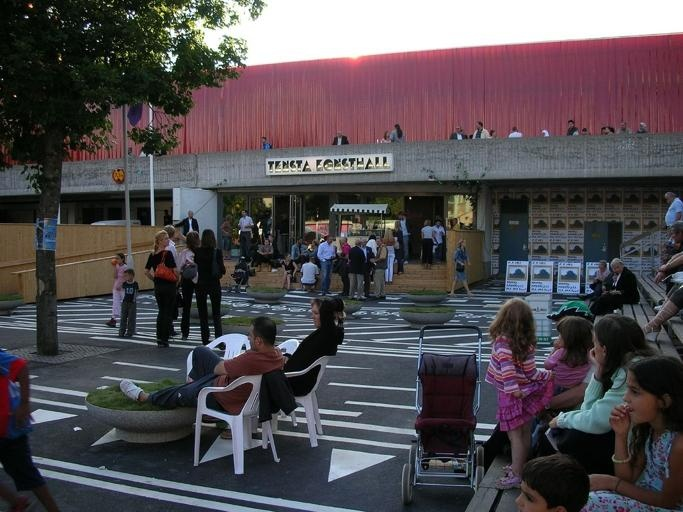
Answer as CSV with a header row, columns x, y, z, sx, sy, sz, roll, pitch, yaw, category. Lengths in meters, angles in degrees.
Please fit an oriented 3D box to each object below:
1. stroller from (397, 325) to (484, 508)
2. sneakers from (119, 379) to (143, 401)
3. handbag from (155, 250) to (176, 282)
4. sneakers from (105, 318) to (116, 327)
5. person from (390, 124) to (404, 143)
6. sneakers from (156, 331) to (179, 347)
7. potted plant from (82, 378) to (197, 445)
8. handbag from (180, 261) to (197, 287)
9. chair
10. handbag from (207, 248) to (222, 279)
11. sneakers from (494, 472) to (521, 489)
x,y,z,sx,sy,sz,roll,pitch,yaw,category
1.134,1.729,7.784,0.874,1.826,1.434,1,1,9,stroller
-2.679,1.715,8.914,0.186,0.170,0.440,14,16,-48,sneakers
-3.393,0.210,13.493,0.484,0.695,0.206,6,-2,-23,handbag
-5.465,1.582,16.558,0.115,0.237,0.223,-1,18,-36,sneakers
2.278,-5.052,28.487,0.549,0.968,1.254,1,1,4,person
-3.465,1.722,14.045,0.164,0.240,0.512,7,14,33,sneakers
-2.420,2.025,8.610,0.850,0.321,0.852,5,-1,-38,potted plant
-2.961,0.347,13.785,0.292,0.445,0.151,3,14,7,handbag
-1.038,1.807,8.896,1.662,1.350,1.927,1,1,8,chair
-2.402,0.149,13.231,0.199,0.756,0.482,-2,-2,14,handbag
1.646,2.235,6.917,0.255,0.137,0.113,0,2,2,sneakers
